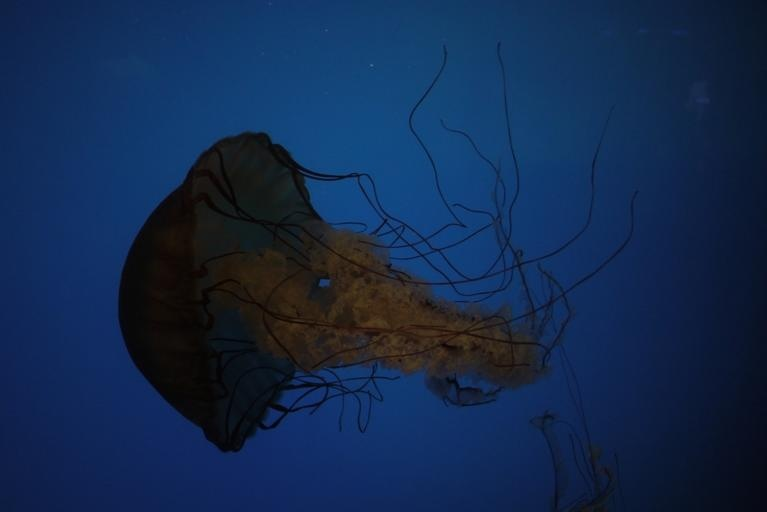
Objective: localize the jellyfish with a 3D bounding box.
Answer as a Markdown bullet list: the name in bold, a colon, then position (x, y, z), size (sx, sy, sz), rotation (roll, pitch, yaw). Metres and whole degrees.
- **jellyfish**: position (-0.193, -0.211, 4.370), size (1.533, 0.870, 1.728), rotation (-10, -57, 4)
